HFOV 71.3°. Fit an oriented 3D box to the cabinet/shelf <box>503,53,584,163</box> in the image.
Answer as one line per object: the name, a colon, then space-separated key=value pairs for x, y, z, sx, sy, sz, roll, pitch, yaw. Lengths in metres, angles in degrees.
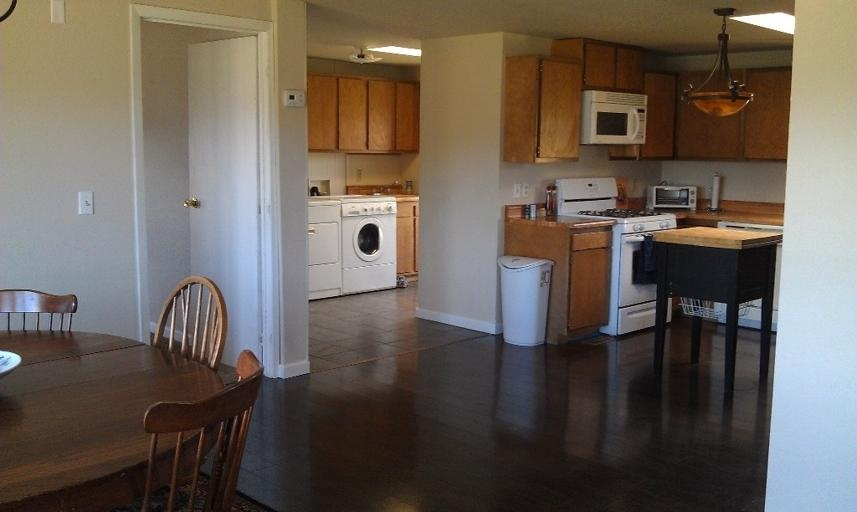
cabinet/shelf: x=1.199 y=-1.509 z=6.174 sx=0.885 sy=1.041 sz=0.404 roll=-7 pitch=16 yaw=-24

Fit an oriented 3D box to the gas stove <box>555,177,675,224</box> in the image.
gas stove: x=1.921 y=-0.646 z=6.758 sx=0.729 sy=0.348 sz=1.010 roll=6 pitch=10 yaw=42

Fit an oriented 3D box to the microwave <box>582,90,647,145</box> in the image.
microwave: x=2.020 y=-1.561 z=6.861 sx=0.941 sy=0.511 sz=0.523 roll=-7 pitch=15 yaw=-33

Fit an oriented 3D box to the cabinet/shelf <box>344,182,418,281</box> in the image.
cabinet/shelf: x=-0.857 y=-0.249 z=8.697 sx=1.210 sy=1.293 sz=0.992 roll=-2 pitch=6 yaw=17

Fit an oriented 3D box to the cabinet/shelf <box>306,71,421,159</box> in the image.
cabinet/shelf: x=-1.064 y=-2.023 z=8.587 sx=0.573 sy=1.046 sz=2.076 roll=16 pitch=19 yaw=42

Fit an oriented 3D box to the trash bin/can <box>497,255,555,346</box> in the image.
trash bin/can: x=0.954 y=0.463 z=6.006 sx=0.507 sy=0.861 sz=0.314 roll=2 pitch=15 yaw=9
